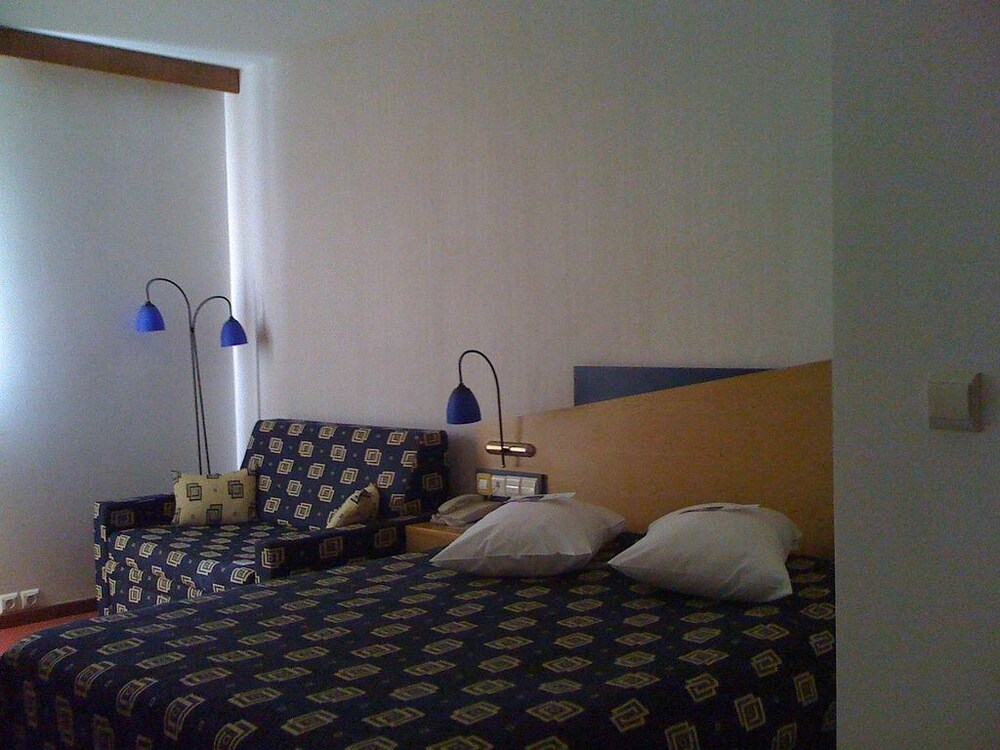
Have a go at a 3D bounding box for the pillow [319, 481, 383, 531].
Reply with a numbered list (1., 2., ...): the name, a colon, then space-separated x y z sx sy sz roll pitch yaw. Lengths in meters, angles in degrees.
1. pillow: -0.758 0.656 3.760 0.235 0.184 0.321 -6 -14 -13

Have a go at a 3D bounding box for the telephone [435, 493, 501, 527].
1. telephone: -0.156 0.658 3.677 0.216 0.071 0.170 -6 6 -40
